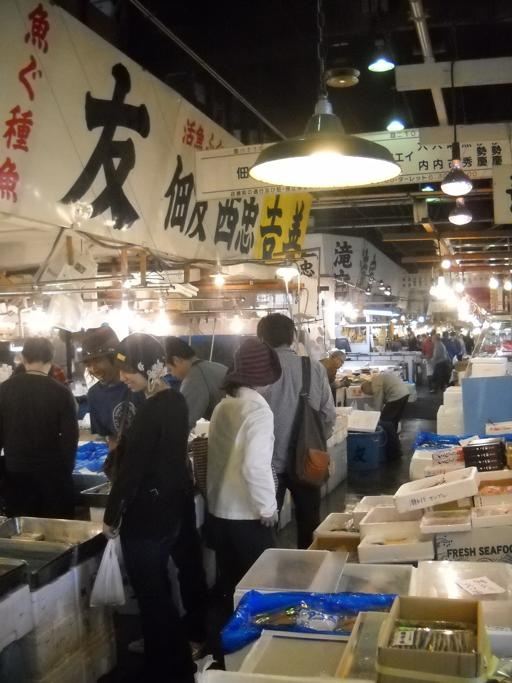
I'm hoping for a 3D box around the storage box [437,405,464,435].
[{"bbox_3d":[2.091,0.891,5.754,0.327,0.333,0.325,1,7,12],"label":"storage box"}]

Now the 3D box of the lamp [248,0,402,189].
[{"bbox_3d":[0.266,-0.875,2.021,0.498,0.885,0.520,-1,-7,-3],"label":"lamp"}]

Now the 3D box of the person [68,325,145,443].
[{"bbox_3d":[-1.013,0.325,3.645,0.353,0.927,0.359,1,15,0],"label":"person"}]

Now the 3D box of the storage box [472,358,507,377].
[{"bbox_3d":[2.864,0.311,6.406,0.321,0.213,0.338,0,0,11],"label":"storage box"}]

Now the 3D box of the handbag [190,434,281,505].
[{"bbox_3d":[-0.171,0.811,3.542,0.474,0.517,0.427,-3,-3,1],"label":"handbag"}]

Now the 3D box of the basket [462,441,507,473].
[{"bbox_3d":[1.303,0.633,2.989,0.240,0.233,0.135,0,1,12],"label":"basket"}]

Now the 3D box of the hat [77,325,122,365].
[{"bbox_3d":[-1.069,0.022,3.524,0.270,0.214,0.370,-25,9,-17],"label":"hat"}]

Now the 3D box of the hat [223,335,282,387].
[{"bbox_3d":[-0.020,0.096,2.642,0.198,0.221,0.282,-3,2,13],"label":"hat"}]
